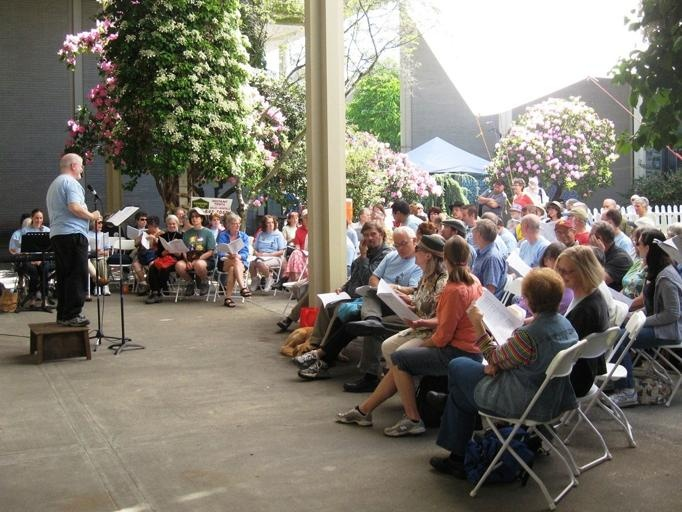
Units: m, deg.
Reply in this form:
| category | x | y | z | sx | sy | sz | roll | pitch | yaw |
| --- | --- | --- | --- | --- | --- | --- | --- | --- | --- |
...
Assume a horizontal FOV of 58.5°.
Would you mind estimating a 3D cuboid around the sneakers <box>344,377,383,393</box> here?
| category | x | y | z | sx | sy | sz | roll | pitch | yaw |
| --- | --- | --- | --- | --- | --- | --- | --- | --- | --- |
| sneakers | 0.222 | 1.320 | 6.264 | 0.404 | 0.168 | 0.151 | 2 | -5 | -13 |

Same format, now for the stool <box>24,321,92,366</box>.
| category | x | y | z | sx | sy | sz | roll | pitch | yaw |
| --- | --- | --- | --- | --- | --- | --- | --- | --- | --- |
| stool | -3.524 | 1.050 | 7.602 | 0.549 | 0.371 | 0.554 | 1 | -1 | -29 |

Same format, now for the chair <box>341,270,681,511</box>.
| category | x | y | z | sx | sy | sz | roll | pitch | yaw |
| --- | --- | --- | --- | --- | --- | --- | --- | --- | --- |
| chair | 1.369 | 0.782 | 4.747 | 1.662 | 2.191 | 0.971 | 12 | 12 | 42 |

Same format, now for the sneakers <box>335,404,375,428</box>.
| category | x | y | z | sx | sy | sz | roll | pitch | yaw |
| --- | --- | --- | --- | --- | --- | --- | --- | --- | --- |
| sneakers | 0.116 | 1.419 | 5.427 | 0.326 | 0.156 | 0.141 | 3 | -2 | 20 |

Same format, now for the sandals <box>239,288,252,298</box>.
| category | x | y | z | sx | sy | sz | roll | pitch | yaw |
| --- | --- | --- | --- | --- | --- | --- | --- | --- | --- |
| sandals | -1.956 | 0.754 | 12.346 | 0.173 | 0.127 | 0.452 | -6 | -3 | -20 |

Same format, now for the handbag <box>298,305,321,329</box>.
| category | x | y | z | sx | sy | sz | roll | pitch | yaw |
| --- | --- | --- | --- | --- | --- | --- | --- | --- | --- |
| handbag | -0.441 | 0.808 | 8.119 | 0.253 | 0.263 | 0.258 | -1 | 2 | -23 |

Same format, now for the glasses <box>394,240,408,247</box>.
| category | x | y | z | sx | sy | sz | roll | pitch | yaw |
| --- | --- | --- | --- | --- | --- | --- | --- | --- | --- |
| glasses | 0.667 | -0.125 | 6.706 | 0.080 | 0.051 | 0.106 | -16 | -40 | 28 |

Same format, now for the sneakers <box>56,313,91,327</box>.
| category | x | y | z | sx | sy | sz | roll | pitch | yaw |
| --- | --- | --- | --- | --- | --- | --- | --- | --- | --- |
| sneakers | -3.335 | 0.782 | 7.599 | 0.402 | 0.207 | 0.176 | 1 | 3 | -6 |

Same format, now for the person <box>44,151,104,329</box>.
| category | x | y | z | sx | sy | sz | roll | pitch | yaw |
| --- | --- | --- | --- | --- | --- | --- | --- | --- | --- |
| person | -3.357 | -0.205 | 7.619 | 0.675 | 2.141 | 0.462 | 4 | 8 | 33 |

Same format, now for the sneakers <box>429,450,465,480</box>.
| category | x | y | z | sx | sy | sz | roll | pitch | yaw |
| --- | --- | --- | --- | --- | --- | --- | --- | --- | --- |
| sneakers | 0.778 | 1.518 | 4.447 | 0.252 | 0.113 | 0.118 | 9 | 7 | 41 |

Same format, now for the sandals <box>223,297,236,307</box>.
| category | x | y | z | sx | sy | sz | roll | pitch | yaw |
| --- | --- | --- | --- | --- | --- | --- | --- | --- | --- |
| sandals | -2.114 | 0.882 | 11.479 | 0.117 | 0.138 | 0.343 | -3 | -2 | -27 |

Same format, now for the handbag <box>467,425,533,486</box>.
| category | x | y | z | sx | sy | sz | roll | pitch | yaw |
| --- | --- | --- | --- | --- | --- | --- | --- | --- | --- |
| handbag | 1.119 | 1.435 | 4.320 | 0.411 | 0.444 | 0.182 | 1 | 9 | -4 |

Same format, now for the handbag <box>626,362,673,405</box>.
| category | x | y | z | sx | sy | sz | roll | pitch | yaw |
| --- | --- | --- | --- | --- | --- | --- | --- | --- | --- |
| handbag | 3.062 | 1.269 | 5.961 | 0.363 | 0.162 | 0.283 | -1 | 6 | -29 |

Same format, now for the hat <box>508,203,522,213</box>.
| category | x | y | z | sx | sy | sz | roll | pitch | yaw |
| --- | --- | --- | --- | --- | --- | --- | --- | --- | --- |
| hat | 3.624 | -0.988 | 12.569 | 0.304 | 0.103 | 0.307 | 0 | -2 | 44 |

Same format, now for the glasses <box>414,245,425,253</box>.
| category | x | y | z | sx | sy | sz | roll | pitch | yaw |
| --- | --- | --- | --- | --- | --- | --- | --- | --- | --- |
| glasses | 0.724 | -0.068 | 5.598 | 0.103 | 0.054 | 0.143 | 5 | 3 | 1 |

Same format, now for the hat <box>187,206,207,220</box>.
| category | x | y | z | sx | sy | sz | roll | pitch | yaw |
| --- | --- | --- | --- | --- | --- | --- | --- | --- | --- |
| hat | -3.024 | -0.890 | 12.573 | 0.230 | 0.171 | 0.318 | 1 | -6 | -12 |

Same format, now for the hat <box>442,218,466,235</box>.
| category | x | y | z | sx | sy | sz | roll | pitch | yaw |
| --- | --- | --- | --- | --- | --- | --- | --- | --- | --- |
| hat | 1.278 | -0.350 | 6.871 | 0.228 | 0.091 | 0.172 | 28 | 7 | 20 |

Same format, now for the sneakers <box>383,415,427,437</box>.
| category | x | y | z | sx | sy | sz | roll | pitch | yaw |
| --- | --- | --- | --- | --- | --- | --- | --- | --- | --- |
| sneakers | 0.537 | 1.453 | 5.201 | 0.378 | 0.192 | 0.144 | 1 | -4 | -4 |
